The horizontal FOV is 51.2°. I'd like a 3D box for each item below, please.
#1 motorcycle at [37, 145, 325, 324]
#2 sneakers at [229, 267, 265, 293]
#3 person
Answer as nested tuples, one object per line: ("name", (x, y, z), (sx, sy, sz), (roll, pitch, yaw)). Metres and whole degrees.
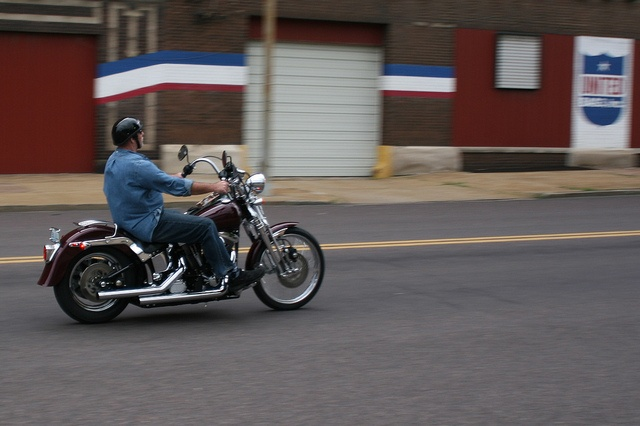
("motorcycle", (-1.531, 0.363, 7.701), (3.405, 1.182, 1.366), (0, 0, -32))
("sneakers", (-0.842, 0.730, 7.447), (0.536, 0.158, 0.156), (-18, 37, -10))
("person", (-1.602, -0.079, 7.395), (1.603, 1.893, 0.550), (2, 17, 3))
